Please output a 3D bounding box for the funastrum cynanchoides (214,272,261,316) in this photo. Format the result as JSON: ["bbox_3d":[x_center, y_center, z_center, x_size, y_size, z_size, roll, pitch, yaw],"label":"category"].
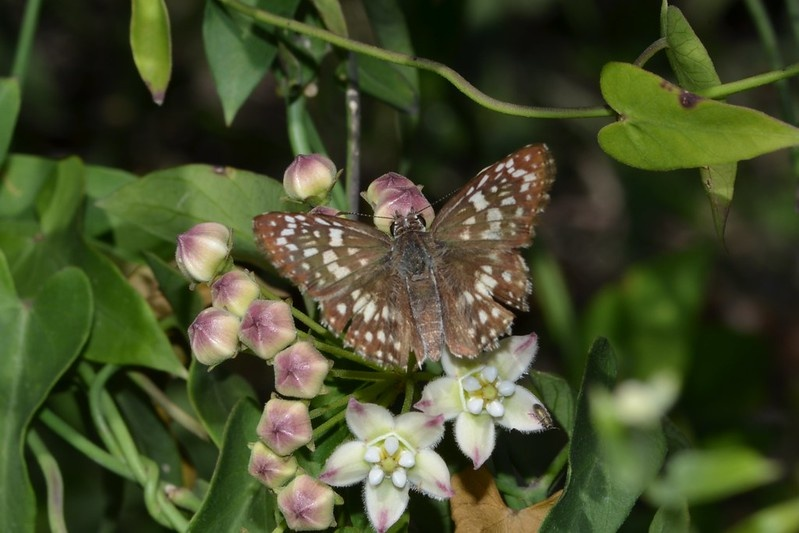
[{"bbox_3d":[-0.471,0.103,2.752,0.130,0.089,0.110,27,68,10],"label":"funastrum cynanchoides"}]

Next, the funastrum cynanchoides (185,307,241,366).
[{"bbox_3d":[-0.539,0.208,2.674,0.150,0.148,0.101,-1,3,-9],"label":"funastrum cynanchoides"}]

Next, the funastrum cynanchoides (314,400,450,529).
[{"bbox_3d":[-0.049,0.545,2.625,0.364,0.358,0.175,-7,19,-6],"label":"funastrum cynanchoides"}]

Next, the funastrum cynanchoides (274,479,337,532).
[{"bbox_3d":[-0.259,0.680,2.608,0.132,0.158,0.066,1,13,-9],"label":"funastrum cynanchoides"}]

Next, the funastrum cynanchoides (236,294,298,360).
[{"bbox_3d":[-0.388,0.180,2.672,0.168,0.085,0.214,-3,56,2],"label":"funastrum cynanchoides"}]

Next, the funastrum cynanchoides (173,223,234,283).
[{"bbox_3d":[-0.582,-0.054,2.747,0.146,0.175,0.077,32,5,2],"label":"funastrum cynanchoides"}]

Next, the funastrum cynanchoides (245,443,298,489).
[{"bbox_3d":[-0.400,0.571,2.664,0.136,0.136,0.060,-13,33,-3],"label":"funastrum cynanchoides"}]

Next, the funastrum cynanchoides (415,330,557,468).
[{"bbox_3d":[0.235,0.410,2.695,0.388,0.355,0.263,-6,19,-1],"label":"funastrum cynanchoides"}]
